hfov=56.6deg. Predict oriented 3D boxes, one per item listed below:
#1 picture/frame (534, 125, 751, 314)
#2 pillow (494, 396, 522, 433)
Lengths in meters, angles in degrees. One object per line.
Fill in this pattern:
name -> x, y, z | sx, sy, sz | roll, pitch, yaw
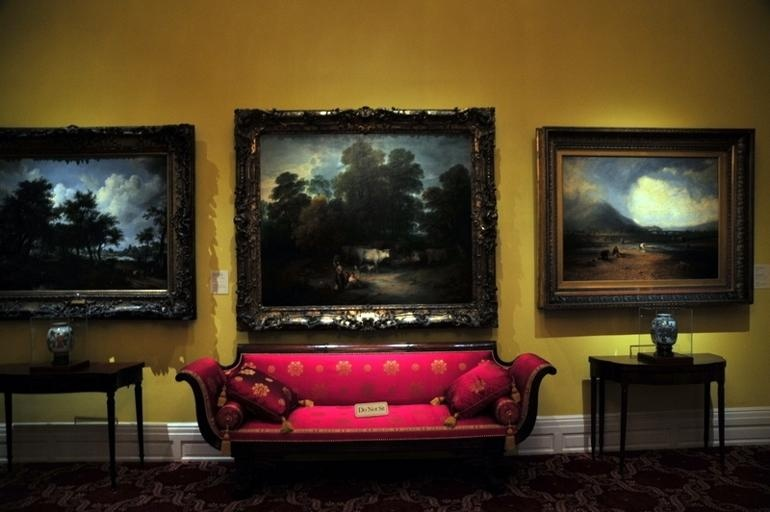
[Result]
picture/frame -> 2.753, -0.389, 7.878 | 2.242, 1.652, 0.176 | 0, -1, -8
pillow -> 1.201, 1.547, 7.150 | 0.282, 0.280, 0.339 | -5, 5, 0
